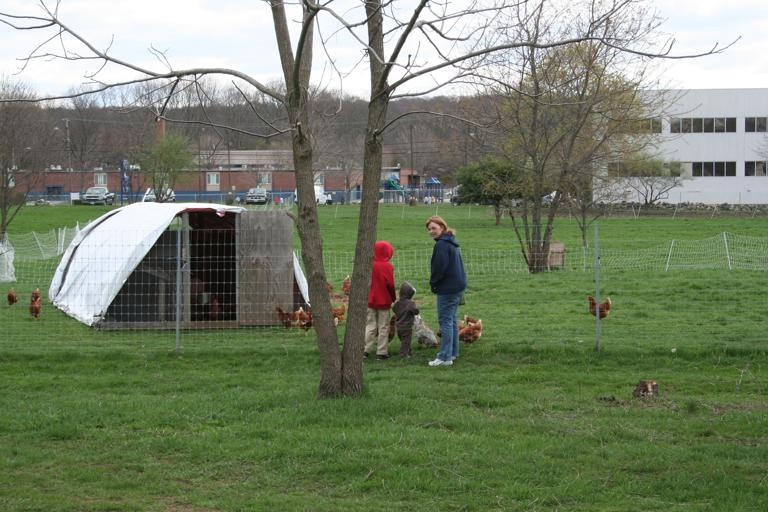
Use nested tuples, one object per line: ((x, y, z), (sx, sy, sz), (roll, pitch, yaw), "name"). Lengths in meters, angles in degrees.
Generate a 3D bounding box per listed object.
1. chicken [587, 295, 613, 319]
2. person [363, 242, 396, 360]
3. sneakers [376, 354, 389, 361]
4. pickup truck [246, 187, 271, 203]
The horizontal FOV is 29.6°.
((7.763, 1.876, 51.809), (0.843, 0.951, 0.932), (-1, 2, -3), "chicken")
((-0.057, 1.590, 51.210), (0.833, 4.025, 0.989), (6, 12, 32), "person")
((-0.028, 3.612, 51.168), (0.431, 0.186, 0.160), (0, 2, -4), "sneakers")
((-9.120, -4.250, 105.824), (1.282, 1.008, 2.210), (0, 0, -3), "pickup truck")
